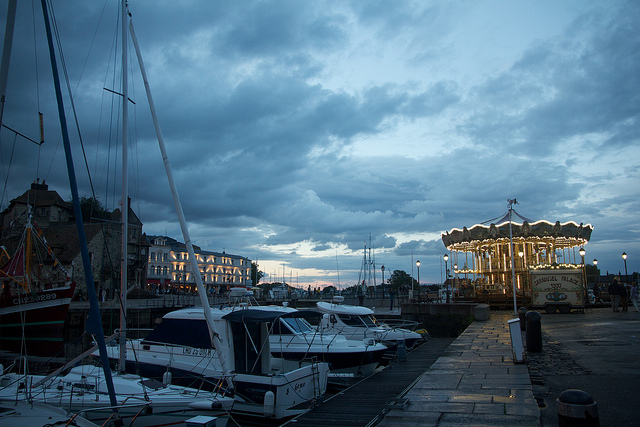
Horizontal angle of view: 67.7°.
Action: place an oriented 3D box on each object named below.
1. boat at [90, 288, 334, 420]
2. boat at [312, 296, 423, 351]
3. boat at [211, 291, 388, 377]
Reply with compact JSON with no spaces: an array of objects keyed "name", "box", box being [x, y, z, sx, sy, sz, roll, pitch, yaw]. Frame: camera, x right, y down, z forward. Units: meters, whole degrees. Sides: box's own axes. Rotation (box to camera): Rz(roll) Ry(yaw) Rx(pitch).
[{"name":"boat","box":[-5.145,6.084,19.812,10.876,4.483,4.107,-5,-6,29]},{"name":"boat","box":[2.042,6.188,26.530,6.737,2.807,2.779,1,-7,7]},{"name":"boat","box":[-1.622,5.907,22.539,9.660,3.426,2.743,-3,-1,12]}]
